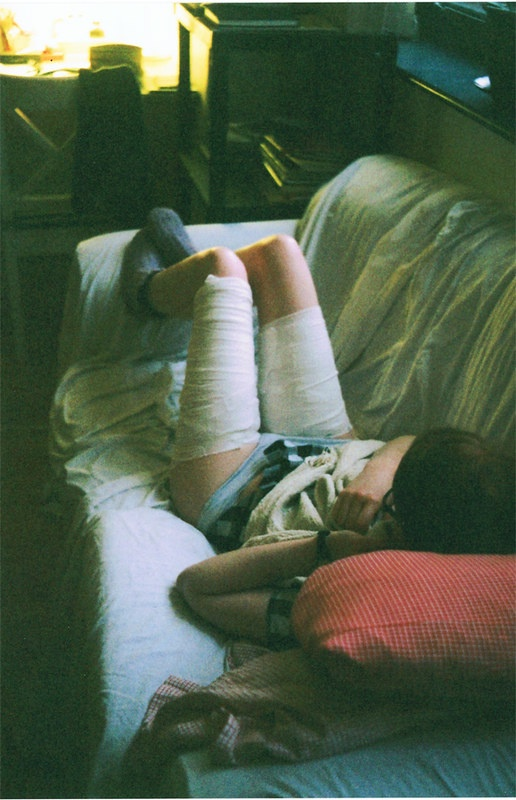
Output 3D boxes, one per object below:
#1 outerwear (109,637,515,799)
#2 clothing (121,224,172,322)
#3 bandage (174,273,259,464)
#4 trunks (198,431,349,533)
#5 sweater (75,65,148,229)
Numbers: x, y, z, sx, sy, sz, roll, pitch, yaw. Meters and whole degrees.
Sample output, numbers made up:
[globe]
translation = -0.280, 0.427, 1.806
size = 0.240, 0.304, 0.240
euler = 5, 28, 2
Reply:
[outerwear]
translation = 0.070, 0.428, 1.120
size = 0.371, 0.095, 0.247
euler = 0, 32, 1
[clothing]
translation = -0.185, -0.204, 1.345
size = 0.050, 0.122, 0.098
euler = 18, 9, 12
[bandage]
translation = -0.045, -0.049, 1.289
size = 0.156, 0.256, 0.111
euler = -4, 1, 26
[trunks]
translation = 0.034, 0.154, 1.325
size = 0.186, 0.059, 0.136
euler = -39, 31, -7
[sweater]
translation = -0.225, -0.382, 1.301
size = 0.137, 0.210, 0.053
euler = -2, 7, -6
